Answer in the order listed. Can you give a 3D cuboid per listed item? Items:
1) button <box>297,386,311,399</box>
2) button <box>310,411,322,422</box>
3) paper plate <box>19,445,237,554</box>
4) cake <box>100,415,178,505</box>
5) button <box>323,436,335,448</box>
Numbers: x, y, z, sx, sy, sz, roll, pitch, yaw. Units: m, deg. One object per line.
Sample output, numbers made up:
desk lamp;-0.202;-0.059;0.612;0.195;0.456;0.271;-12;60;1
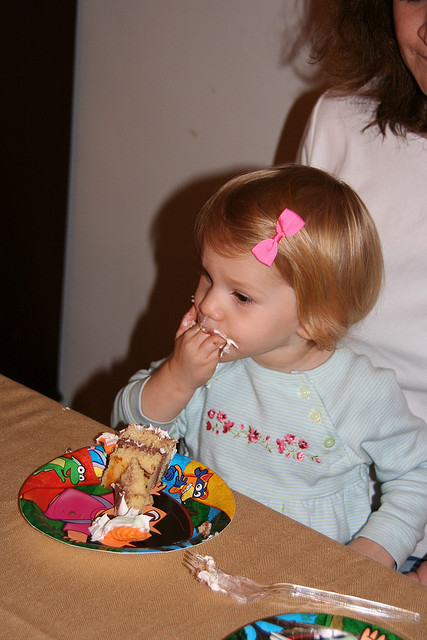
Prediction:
button;0.159;0.127;1.056;0.021;0.020;0.007;13;2;26
button;0.178;0.167;1.043;0.021;0.018;0.005;1;-6;11
paper plate;-0.105;0.218;0.712;0.250;0.029;0.234;-2;14;-40
cake;-0.094;0.186;0.785;0.073;0.090;0.037;36;25;26
button;0.197;0.209;1.034;0.017;0.018;0.010;-6;-3;10
